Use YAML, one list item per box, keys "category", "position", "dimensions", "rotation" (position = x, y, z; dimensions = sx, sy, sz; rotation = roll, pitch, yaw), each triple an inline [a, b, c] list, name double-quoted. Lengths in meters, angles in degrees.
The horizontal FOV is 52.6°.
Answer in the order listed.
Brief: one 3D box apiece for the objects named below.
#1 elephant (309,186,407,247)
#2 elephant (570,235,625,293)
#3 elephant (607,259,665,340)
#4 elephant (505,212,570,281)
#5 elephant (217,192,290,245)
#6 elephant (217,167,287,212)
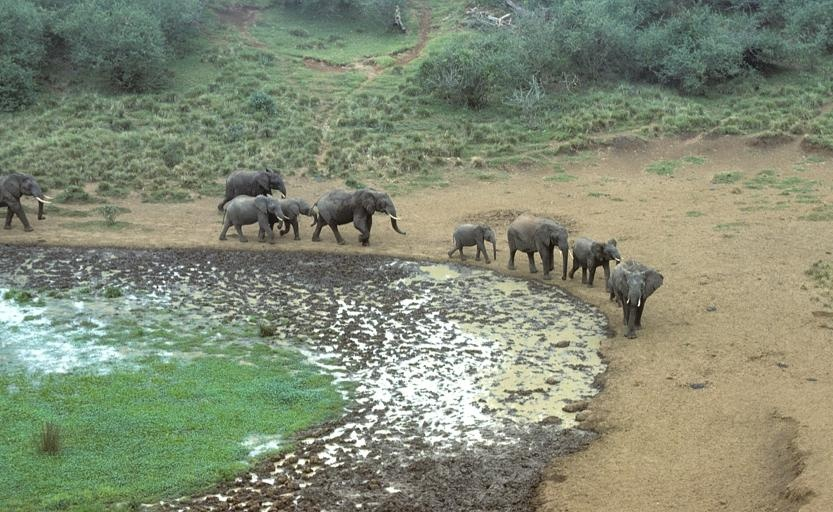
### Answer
- category: "elephant"
  position: [-2.810, -1.944, 37.141]
  dimensions: [5.522, 2.968, 1.755]
  rotation: [2, 24, 3]
- category: "elephant"
  position: [7.321, 0.222, 33.673]
  dimensions: [1.421, 2.360, 1.909]
  rotation: [1, 0, -4]
- category: "elephant"
  position: [8.120, 1.550, 31.668]
  dimensions: [1.747, 2.884, 2.173]
  rotation: [2, 2, 18]
- category: "elephant"
  position: [5.159, -0.405, 35.157]
  dimensions: [1.447, 2.383, 3.430]
  rotation: [-9, 14, -34]
- category: "elephant"
  position: [-7.268, -1.712, 37.426]
  dimensions: [2.842, 2.027, 1.056]
  rotation: [0, 14, 1]
- category: "elephant"
  position: [-7.629, -3.285, 39.170]
  dimensions: [3.646, 1.805, 1.329]
  rotation: [-3, 12, 6]
